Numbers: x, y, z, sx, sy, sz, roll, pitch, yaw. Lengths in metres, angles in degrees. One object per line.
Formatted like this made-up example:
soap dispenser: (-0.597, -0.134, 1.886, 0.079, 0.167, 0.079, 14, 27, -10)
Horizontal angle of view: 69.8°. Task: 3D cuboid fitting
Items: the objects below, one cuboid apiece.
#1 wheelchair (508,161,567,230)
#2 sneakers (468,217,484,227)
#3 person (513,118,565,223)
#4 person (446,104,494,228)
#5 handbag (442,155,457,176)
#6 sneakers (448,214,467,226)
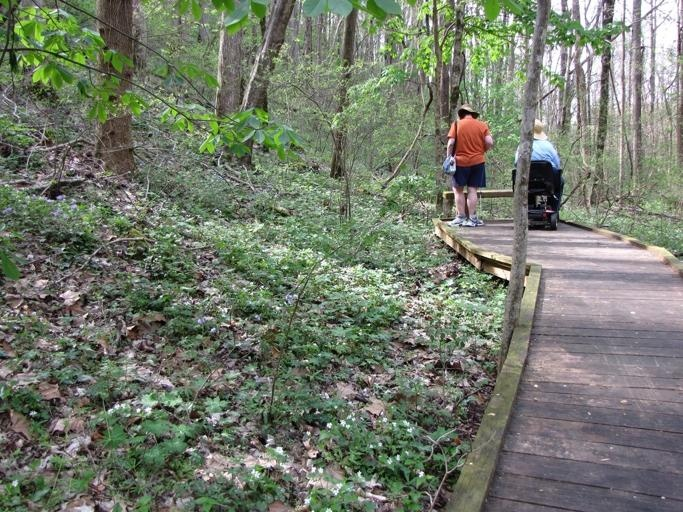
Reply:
wheelchair: (4.043, -1.269, 10.027, 0.817, 1.387, 1.277, 2, 12, 22)
sneakers: (2.841, -0.724, 10.314, 0.158, 0.193, 0.414, 9, 10, 43)
person: (4.097, -1.657, 9.825, 0.603, 2.106, 1.416, 9, 9, 31)
person: (2.484, -1.728, 9.648, 0.811, 2.354, 1.158, 6, 8, 14)
handbag: (2.070, -1.722, 9.273, 0.237, 0.356, 0.281, 6, 8, 7)
sneakers: (2.466, -0.736, 10.325, 0.328, 0.176, 0.160, 1, 11, 28)
